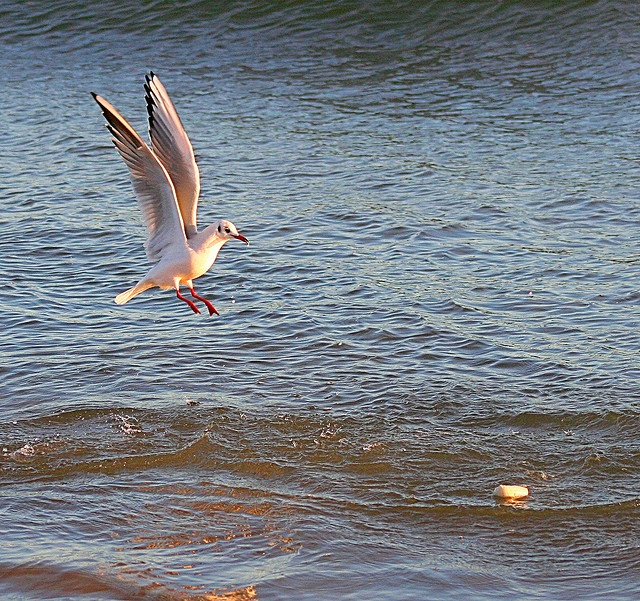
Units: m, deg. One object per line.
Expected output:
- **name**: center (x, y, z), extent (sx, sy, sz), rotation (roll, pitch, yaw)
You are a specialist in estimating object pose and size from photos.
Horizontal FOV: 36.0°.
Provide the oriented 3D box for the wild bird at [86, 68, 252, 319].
- **wild bird**: center (-1.684, -1.098, 10.073), extent (1.056, 2.548, 0.786), rotation (-26, 41, -25)
